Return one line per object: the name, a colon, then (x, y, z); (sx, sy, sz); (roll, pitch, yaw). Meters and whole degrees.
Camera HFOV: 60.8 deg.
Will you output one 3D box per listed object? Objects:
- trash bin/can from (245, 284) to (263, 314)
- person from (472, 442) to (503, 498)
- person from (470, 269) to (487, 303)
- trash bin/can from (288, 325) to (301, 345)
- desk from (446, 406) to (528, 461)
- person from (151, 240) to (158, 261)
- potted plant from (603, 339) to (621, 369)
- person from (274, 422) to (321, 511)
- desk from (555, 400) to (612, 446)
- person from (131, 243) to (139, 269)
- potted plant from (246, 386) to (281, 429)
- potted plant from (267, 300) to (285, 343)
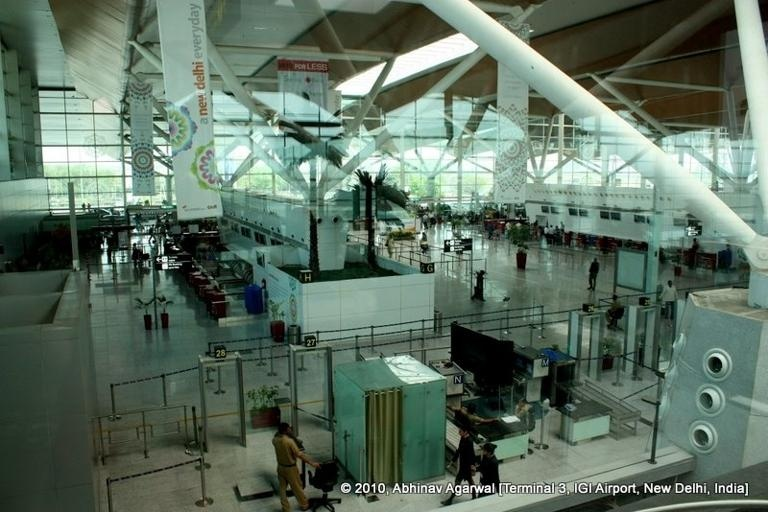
trash bin/can: (-5.746, 1.956, 28.873); (0.773, 1.188, 0.575); (-3, 3, -14)
person: (2.830, 5.811, 17.799); (0.622, 1.482, 0.283); (-2, 3, 6)
person: (4.823, 1.486, 33.517); (0.731, 1.550, 1.416); (-2, 3, 7)
trash bin/can: (-3.638, 3.176, 26.592); (0.528, 0.721, 0.998); (-3, 3, -10)
desk: (3.233, 5.290, 19.383); (1.726, 0.597, 1.802); (-3, 11, -19)
person: (-9.204, -0.311, 26.348); (0.317, 0.704, 1.818); (-3, 4, -20)
potted plant: (8.436, 3.611, 24.221); (0.610, 1.189, 1.041); (-1, 3, 22)
person: (-2.516, 5.705, 17.847); (0.946, 2.530, 0.707); (-3, 3, -11)
desk: (6.186, 5.070, 20.314); (1.322, 0.811, 1.285); (-7, 15, -17)
person: (-12.487, 0.118, 32.799); (0.366, 1.132, 1.621); (-3, 4, -21)
potted plant: (-3.837, 4.812, 21.078); (0.966, 1.325, 0.771); (-3, 3, -12)
potted plant: (-4.518, 2.755, 27.726); (0.676, 1.556, 1.509); (-3, 3, -10)
